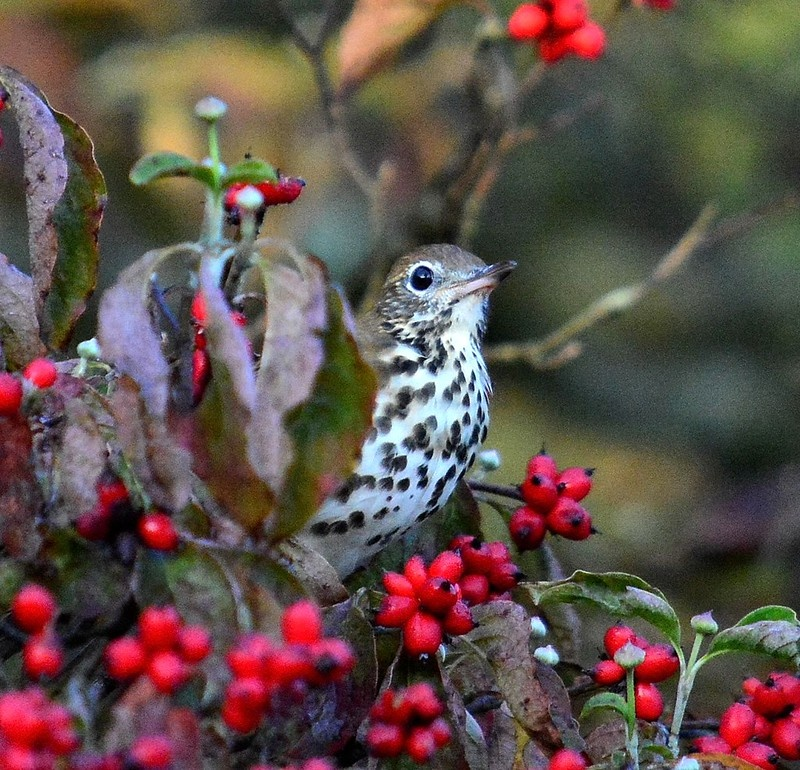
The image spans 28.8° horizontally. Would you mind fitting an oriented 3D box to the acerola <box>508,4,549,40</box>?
[{"bbox_3d":[0.197,-0.552,2.355,0.057,0.049,0.033,35,4,35],"label":"acerola"}]
